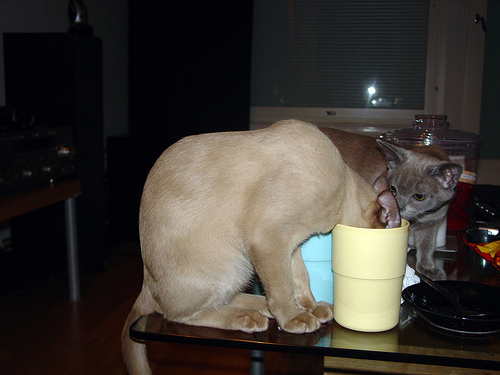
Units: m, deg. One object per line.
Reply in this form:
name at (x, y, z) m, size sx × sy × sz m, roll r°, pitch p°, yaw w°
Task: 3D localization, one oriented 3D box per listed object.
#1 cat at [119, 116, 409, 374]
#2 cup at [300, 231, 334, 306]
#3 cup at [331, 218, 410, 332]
cat at (0.025, 0.166, 1.038) m, size 0.650 × 0.638 × 0.265 m, roll 0°, pitch 13°, yaw -14°
cup at (0.173, 0.201, 1.116) m, size 0.089 × 0.168 × 0.053 m, roll 5°, pitch 13°, yaw 11°
cup at (0.267, 0.196, 1.016) m, size 0.181 × 0.254 × 0.192 m, roll 2°, pitch 4°, yaw 0°
